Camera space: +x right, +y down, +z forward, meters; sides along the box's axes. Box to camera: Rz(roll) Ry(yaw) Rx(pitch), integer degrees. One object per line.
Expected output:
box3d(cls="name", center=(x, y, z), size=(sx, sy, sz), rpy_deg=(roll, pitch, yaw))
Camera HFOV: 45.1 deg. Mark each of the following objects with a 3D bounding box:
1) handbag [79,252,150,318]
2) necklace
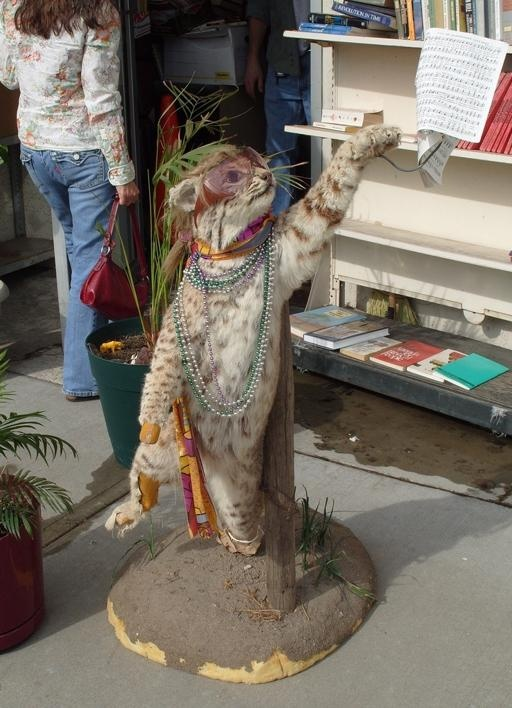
box3d(cls="handbag", center=(-0.625, -0.339, 2.818), size=(0.161, 0.323, 0.359), rpy_deg=(18, 3, 27))
box3d(cls="necklace", center=(-0.074, -0.062, 1.411), size=(0.232, 0.423, 0.167), rpy_deg=(0, 25, 0))
